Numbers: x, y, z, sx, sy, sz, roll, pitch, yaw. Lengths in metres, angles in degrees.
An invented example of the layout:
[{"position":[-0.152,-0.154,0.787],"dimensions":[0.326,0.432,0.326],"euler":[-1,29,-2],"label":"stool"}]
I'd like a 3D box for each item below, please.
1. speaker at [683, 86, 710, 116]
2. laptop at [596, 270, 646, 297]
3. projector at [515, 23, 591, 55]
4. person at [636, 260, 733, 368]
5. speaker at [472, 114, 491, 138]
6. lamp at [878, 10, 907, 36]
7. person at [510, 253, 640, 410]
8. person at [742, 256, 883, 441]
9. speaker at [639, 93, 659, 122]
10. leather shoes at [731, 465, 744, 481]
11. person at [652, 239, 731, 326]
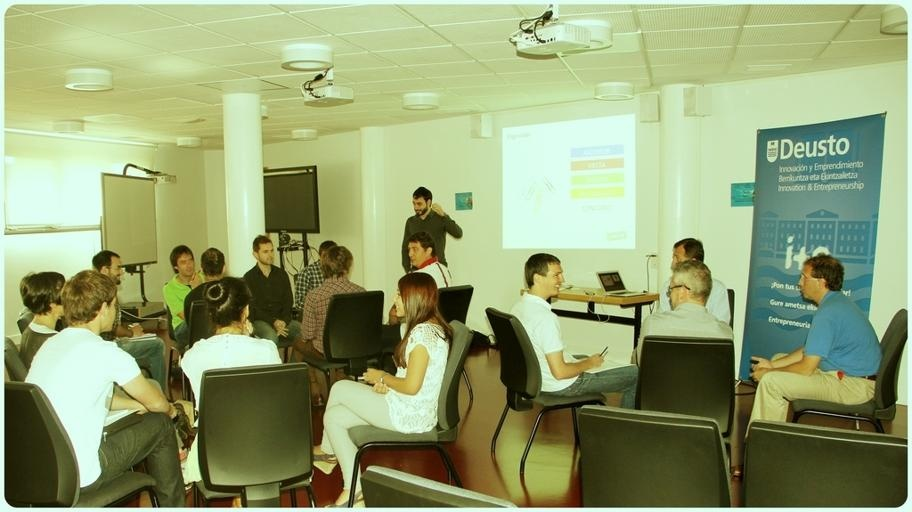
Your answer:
[{"position":[2.991,-1.942,8.588],"dimensions":[0.419,0.336,0.210],"euler":[2,0,-5],"label":"speaker"},{"position":[1.990,0.352,8.549],"dimensions":[0.428,0.327,0.240],"euler":[0,-12,-29],"label":"laptop"},{"position":[0.876,-1.990,6.399],"dimensions":[0.456,0.131,0.340],"euler":[-3,-7,40],"label":"projector"},{"position":[2.176,0.554,6.471],"dimensions":[1.033,1.071,0.686],"euler":[0,18,5],"label":"person"},{"position":[0.404,-1.937,10.208],"dimensions":[0.200,0.310,0.356],"euler":[-6,8,-36],"label":"speaker"},{"position":[4.039,-2.166,6.393],"dimensions":[0.217,0.115,0.205],"euler":[4,-4,-34],"label":"lamp"},{"position":[1.074,0.723,6.455],"dimensions":[1.063,1.473,0.510],"euler":[-2,5,-2],"label":"person"},{"position":[3.306,0.759,6.350],"dimensions":[1.069,1.488,0.331],"euler":[-2,5,3],"label":"person"},{"position":[2.505,-1.918,8.906],"dimensions":[0.249,0.374,0.129],"euler":[-1,5,15],"label":"speaker"},{"position":[2.559,1.989,6.315],"dimensions":[0.108,0.060,0.214],"euler":[-1,4,11],"label":"leather shoes"},{"position":[2.456,0.271,7.082],"dimensions":[0.730,1.044,0.933],"euler":[5,-5,-6],"label":"person"}]
